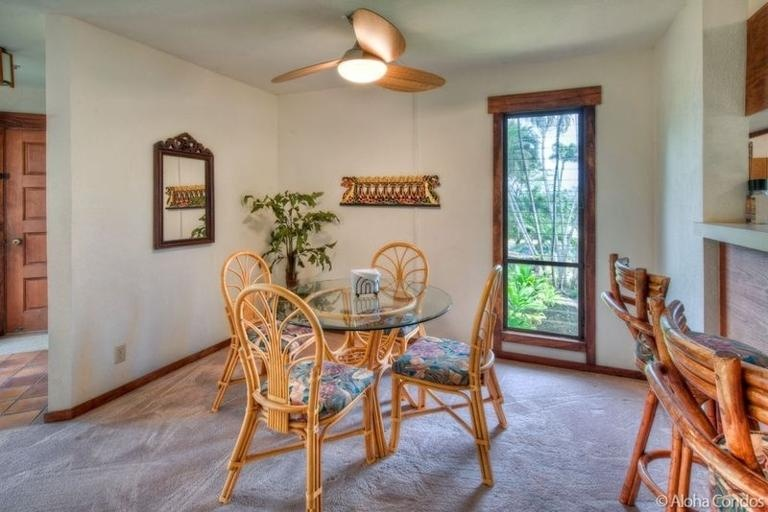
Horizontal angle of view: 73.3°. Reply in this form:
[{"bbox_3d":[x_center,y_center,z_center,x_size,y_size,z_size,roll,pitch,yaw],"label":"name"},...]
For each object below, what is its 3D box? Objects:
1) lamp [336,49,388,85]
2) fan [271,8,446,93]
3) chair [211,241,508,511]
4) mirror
[{"bbox_3d":[-0.168,-1.455,4.079,0.296,0.340,0.294,7,-17,-34],"label":"lamp"},{"bbox_3d":[-0.114,-1.607,4.183,0.852,0.383,0.961,2,6,38],"label":"fan"},{"bbox_3d":[-0.485,0.817,4.087,1.655,1.668,1.610,-3,5,-21],"label":"chair"},{"bbox_3d":[-1.970,-0.643,5.068,0.064,1.106,0.682,3,6,36],"label":"mirror"}]
